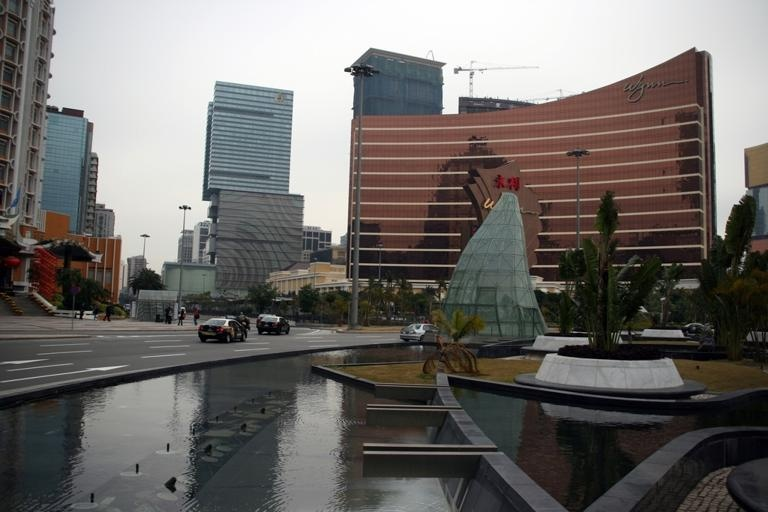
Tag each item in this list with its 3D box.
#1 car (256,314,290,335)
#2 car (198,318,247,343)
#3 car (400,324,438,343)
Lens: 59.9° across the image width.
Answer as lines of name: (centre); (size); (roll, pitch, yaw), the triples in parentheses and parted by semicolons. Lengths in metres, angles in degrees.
car: (-8.440, 5.322, 51.521); (1.279, 0.851, 2.688); (0, -13, 3)
car: (-9.300, 4.353, 39.079); (1.318, 0.898, 2.778); (0, -14, 2)
car: (2.737, 5.450, 46.860); (1.134, 0.761, 2.688); (-1, -1, 36)
